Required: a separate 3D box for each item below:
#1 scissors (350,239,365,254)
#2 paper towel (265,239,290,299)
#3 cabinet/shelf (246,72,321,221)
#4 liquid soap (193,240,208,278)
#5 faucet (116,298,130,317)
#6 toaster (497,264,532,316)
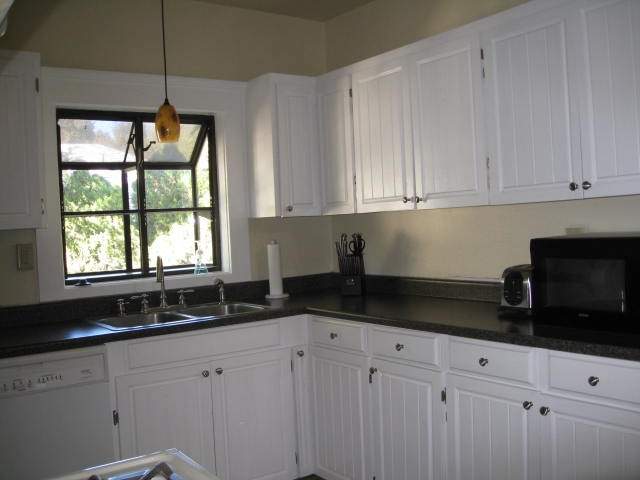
[{"bbox_3d":[0.276,0.038,3.716,0.103,0.116,0.312,-4,3,6],"label":"scissors"},{"bbox_3d":[-0.321,0.215,3.717,0.146,0.280,0.256,-4,3,-6],"label":"paper towel"},{"bbox_3d":[-0.212,-0.619,3.726,0.489,1.083,0.582,-2,-7,-4],"label":"cabinet/shelf"},{"bbox_3d":[-0.872,0.124,3.699,0.096,0.192,0.107,-4,2,-14],"label":"liquid soap"},{"bbox_3d":[-1.261,0.441,3.265,0.084,0.095,0.089,-1,0,-13],"label":"faucet"},{"bbox_3d":[1.045,0.274,2.694,0.217,0.251,0.223,7,-8,-6],"label":"toaster"}]
